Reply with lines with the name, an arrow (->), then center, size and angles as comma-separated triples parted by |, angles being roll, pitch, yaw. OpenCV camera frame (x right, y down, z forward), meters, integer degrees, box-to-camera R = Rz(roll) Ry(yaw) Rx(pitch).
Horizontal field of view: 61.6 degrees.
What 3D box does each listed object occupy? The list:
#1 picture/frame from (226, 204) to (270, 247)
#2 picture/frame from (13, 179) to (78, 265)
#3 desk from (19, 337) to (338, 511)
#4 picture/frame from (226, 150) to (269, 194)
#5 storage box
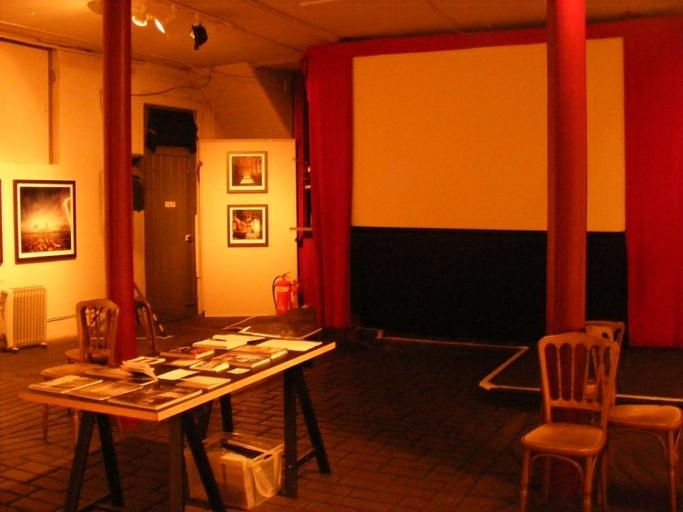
picture/frame -> -1.487, -0.526, 8.998 | 0.682, 0.657, 0.043 | -1, 5, 0
picture/frame -> -4.000, -0.494, 7.766 | 0.198, 1.084, 0.873 | 3, 8, 26
desk -> -0.909, 1.122, 3.530 | 0.918, 0.974, 1.531 | 4, 8, 34
picture/frame -> -1.469, -1.360, 8.920 | 0.685, 0.657, 0.047 | 0, 4, 2
storage box -> -0.707, 1.368, 3.742 | 0.526, 0.310, 0.419 | -1, -1, 28
